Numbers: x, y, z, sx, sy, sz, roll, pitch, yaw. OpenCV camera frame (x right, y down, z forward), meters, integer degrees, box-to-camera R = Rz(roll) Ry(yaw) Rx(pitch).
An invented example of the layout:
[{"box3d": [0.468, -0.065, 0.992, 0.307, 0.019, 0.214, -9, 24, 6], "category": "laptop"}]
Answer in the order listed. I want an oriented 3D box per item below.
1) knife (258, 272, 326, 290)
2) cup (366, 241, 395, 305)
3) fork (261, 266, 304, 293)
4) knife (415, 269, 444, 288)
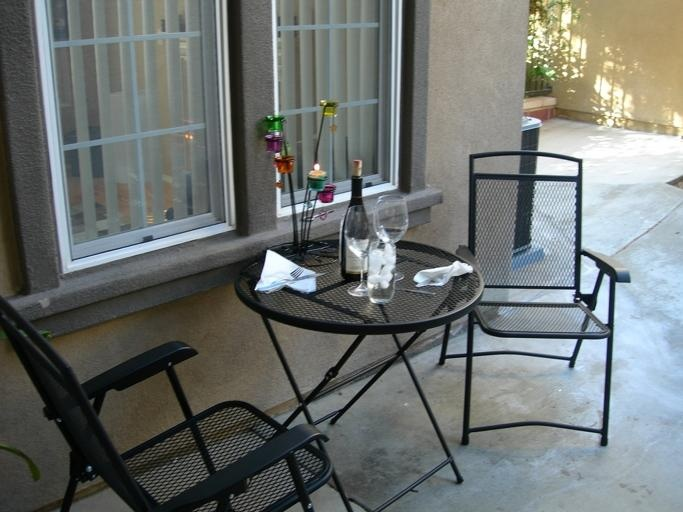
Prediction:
[{"box3d": [-0.204, 0.096, 2.245, 0.149, 0.018, 0.077, -3, 22, -17], "category": "knife"}, {"box3d": [0.142, 0.055, 2.154, 0.104, 0.209, 0.145, -2, 24, 4], "category": "cup"}, {"box3d": [-0.229, 0.083, 2.247, 0.129, 0.018, 0.086, -23, 44, -32], "category": "fork"}, {"box3d": [0.334, 0.089, 2.295, 0.087, 0.026, 0.087, 15, 25, 42], "category": "knife"}]
